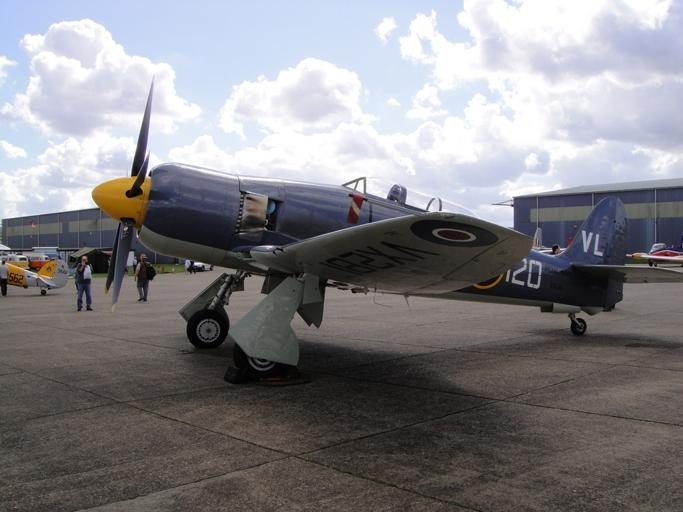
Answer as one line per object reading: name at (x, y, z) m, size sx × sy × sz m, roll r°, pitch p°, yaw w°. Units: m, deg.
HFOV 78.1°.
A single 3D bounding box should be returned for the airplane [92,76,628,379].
airplane at (0.269, 0.557, 6.934) m, size 5.440 × 1.874 × 5.192 m, roll 5°, pitch -3°, yaw -19°
